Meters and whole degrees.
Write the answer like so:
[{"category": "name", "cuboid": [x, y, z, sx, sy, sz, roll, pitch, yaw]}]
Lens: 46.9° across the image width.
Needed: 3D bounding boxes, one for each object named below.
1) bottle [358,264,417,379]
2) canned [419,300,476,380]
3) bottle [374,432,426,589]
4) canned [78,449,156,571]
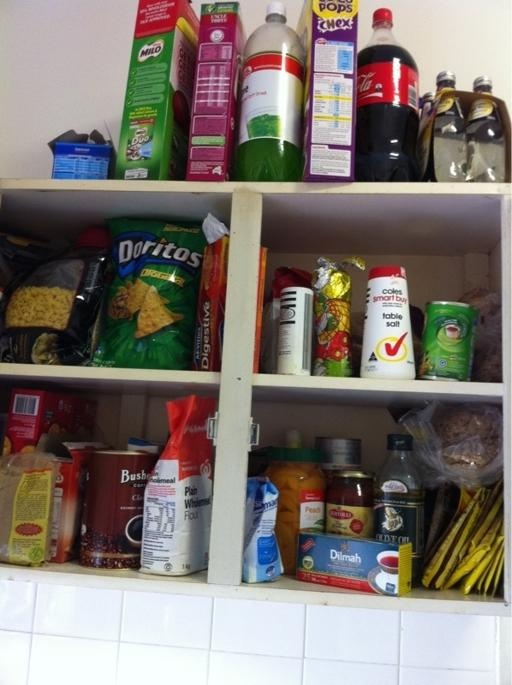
[{"category": "bottle", "cuboid": [0.202, -0.032, 0.887, 0.081, 0.166, 0.136, 2, 5, 15]}, {"category": "canned", "cuboid": [0.280, -0.003, 0.862, 0.076, 0.114, 0.059, 3, 5, 19]}, {"category": "bottle", "cuboid": [0.217, 0.256, 0.890, 0.074, 0.179, 0.108, 2, 5, 15]}, {"category": "canned", "cuboid": [-0.216, 0.250, 0.936, 0.097, 0.177, 0.073, 8, 10, 26]}]
